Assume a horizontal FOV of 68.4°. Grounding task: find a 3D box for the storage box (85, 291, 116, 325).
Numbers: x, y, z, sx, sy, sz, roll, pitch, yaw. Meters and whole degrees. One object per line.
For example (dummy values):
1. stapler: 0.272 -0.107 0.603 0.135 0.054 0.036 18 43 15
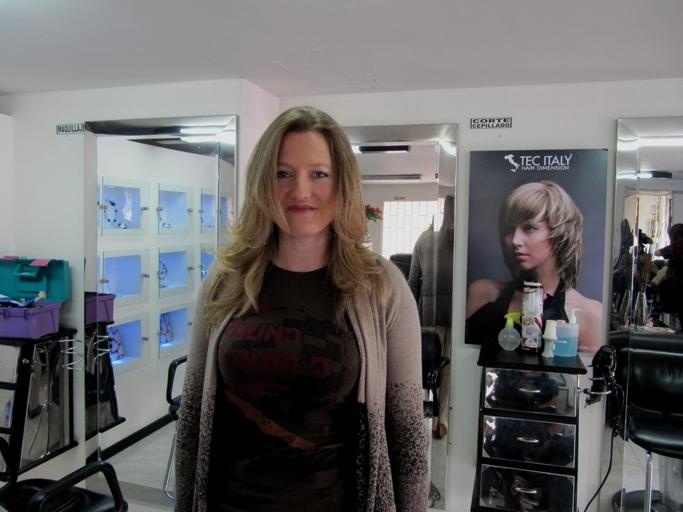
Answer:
1. storage box: -1.600 0.317 3.374 0.245 0.239 0.197 2 3 42
